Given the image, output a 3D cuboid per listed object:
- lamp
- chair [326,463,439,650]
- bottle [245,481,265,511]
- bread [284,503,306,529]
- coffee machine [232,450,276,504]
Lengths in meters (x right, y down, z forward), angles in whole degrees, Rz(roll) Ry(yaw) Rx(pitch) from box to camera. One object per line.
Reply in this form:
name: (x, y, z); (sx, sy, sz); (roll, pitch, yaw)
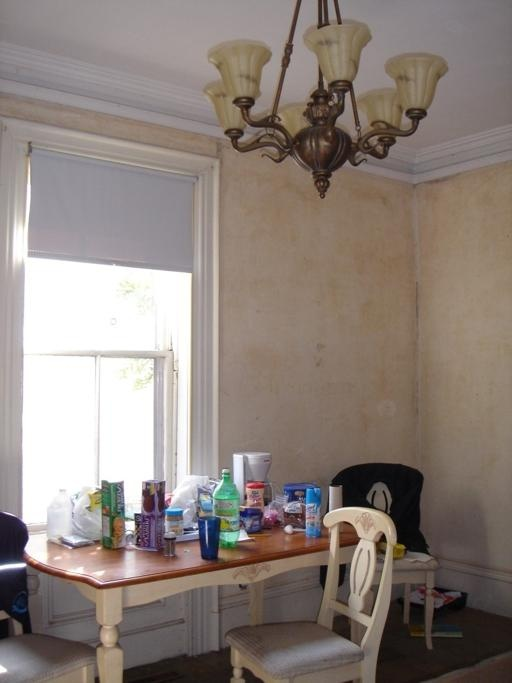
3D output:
lamp: (0.218, -0.903, 2.313); (0.825, 0.859, 0.739); (0, -8, -3)
chair: (0.638, 1.046, 3.118); (0.552, 0.744, 0.529); (1, 1, -36)
bottle: (-0.007, 0.601, 2.460); (0.096, 0.152, 0.091); (0, -5, 0)
bread: (0.149, 0.672, 2.427); (0.091, 0.087, 0.075); (-5, -8, 34)
coffee machine: (-0.023, 0.604, 2.706); (0.186, 0.234, 0.144); (4, -9, -14)
